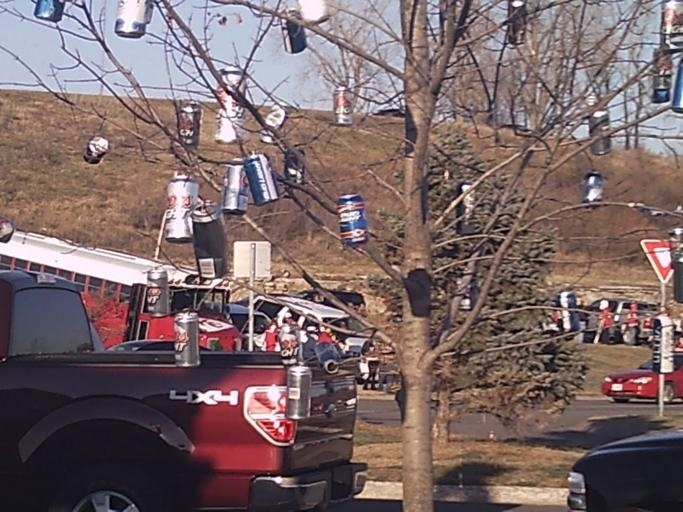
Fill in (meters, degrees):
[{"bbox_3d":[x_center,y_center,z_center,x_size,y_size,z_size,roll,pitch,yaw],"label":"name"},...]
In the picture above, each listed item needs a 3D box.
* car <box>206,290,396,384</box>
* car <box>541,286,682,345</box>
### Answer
[{"bbox_3d":[-0.301,2.055,37.586,4.697,1.847,2.225,-4,-6,32],"label":"car"},{"bbox_3d":[6.251,1.435,34.475,3.229,1.168,2.084,6,3,39],"label":"car"}]
